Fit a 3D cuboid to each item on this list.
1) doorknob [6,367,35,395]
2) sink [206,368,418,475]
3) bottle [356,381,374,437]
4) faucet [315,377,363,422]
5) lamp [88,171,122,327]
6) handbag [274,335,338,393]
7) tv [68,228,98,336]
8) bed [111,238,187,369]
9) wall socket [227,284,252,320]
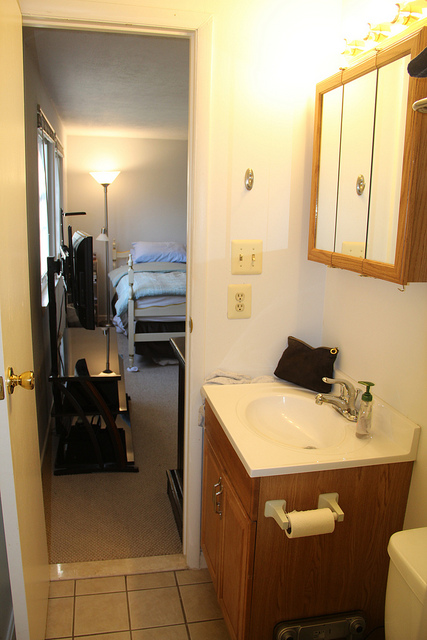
[{"bbox_3d":[-0.450,0.141,1.099,0.048,0.069,0.060,0,-5,-5],"label":"doorknob"},{"bbox_3d":[0.243,0.262,1.390,0.457,0.216,0.572,-1,9,-13],"label":"sink"},{"bbox_3d":[0.419,0.236,1.295,0.038,0.161,0.129,4,9,21],"label":"bottle"},{"bbox_3d":[0.365,0.230,1.372,0.130,0.146,0.096,-2,20,1],"label":"faucet"},{"bbox_3d":[-1.337,-0.923,5.918,0.374,1.959,0.851,-1,9,-11],"label":"lamp"},{"bbox_3d":[0.325,0.158,1.645,0.225,0.173,0.083,15,5,44],"label":"handbag"},{"bbox_3d":[-0.754,-0.212,2.693,0.133,0.579,0.646,-2,9,-17],"label":"tv"},{"bbox_3d":[-0.590,-0.335,5.344,1.050,1.002,1.754,-3,15,-14],"label":"bed"},{"bbox_3d":[0.089,-0.070,1.671,0.103,0.163,0.015,-3,14,-17],"label":"wall socket"}]
